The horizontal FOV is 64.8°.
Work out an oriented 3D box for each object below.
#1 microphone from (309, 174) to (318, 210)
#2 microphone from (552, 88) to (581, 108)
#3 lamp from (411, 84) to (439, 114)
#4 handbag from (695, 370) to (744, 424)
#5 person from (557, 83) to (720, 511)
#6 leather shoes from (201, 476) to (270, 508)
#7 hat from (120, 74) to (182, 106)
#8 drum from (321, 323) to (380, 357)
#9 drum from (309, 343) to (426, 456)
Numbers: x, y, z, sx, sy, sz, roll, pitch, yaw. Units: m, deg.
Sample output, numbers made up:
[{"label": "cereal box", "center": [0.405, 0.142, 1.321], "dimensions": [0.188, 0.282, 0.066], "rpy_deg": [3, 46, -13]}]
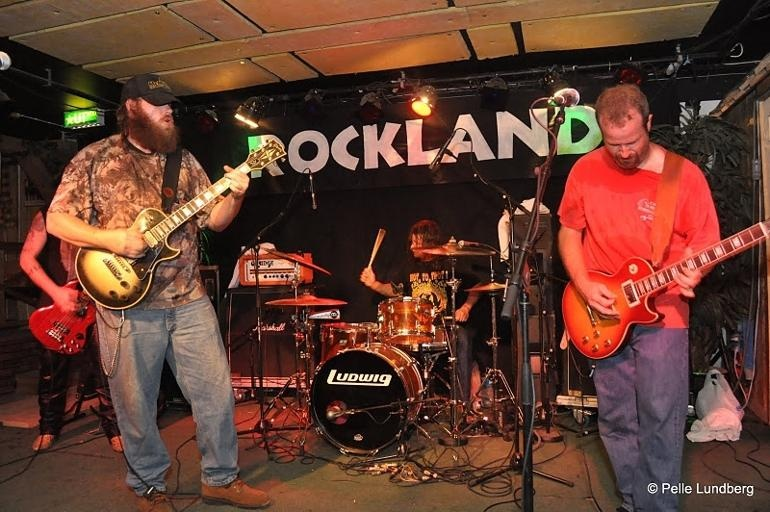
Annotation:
[{"label": "microphone", "center": [-0.906, -0.812, 7.555], "dimensions": [0.126, 0.534, 0.129], "rpy_deg": [7, -30, -16]}, {"label": "microphone", "center": [1.252, -1.113, 4.234], "dimensions": [0.159, 0.158, 0.128], "rpy_deg": [0, -6, 36]}, {"label": "lamp", "center": [0.444, -1.869, 7.175], "dimensions": [0.255, 0.334, 0.342], "rpy_deg": [0, -2, 2]}, {"label": "handbag", "center": [3.409, 1.408, 6.132], "dimensions": [0.422, 0.489, 0.496], "rpy_deg": [9, 4, -38]}, {"label": "person", "center": [1.815, 0.365, 4.380], "dimensions": [1.027, 3.157, 0.598], "rpy_deg": [0, -2, 16]}, {"label": "leather shoes", "center": [-1.189, 1.926, 4.977], "dimensions": [0.595, 0.276, 0.216], "rpy_deg": [2, -4, -5]}, {"label": "hat", "center": [-1.858, -1.320, 4.799], "dimensions": [0.482, 0.234, 0.334], "rpy_deg": [7, 16, 20]}, {"label": "drum", "center": [-0.415, 0.805, 6.020], "dimensions": [0.416, 0.254, 0.421], "rpy_deg": [0, -10, 0]}, {"label": "drum", "center": [-0.167, 1.362, 5.698], "dimensions": [0.908, 0.896, 0.599], "rpy_deg": [14, 6, 24]}]
